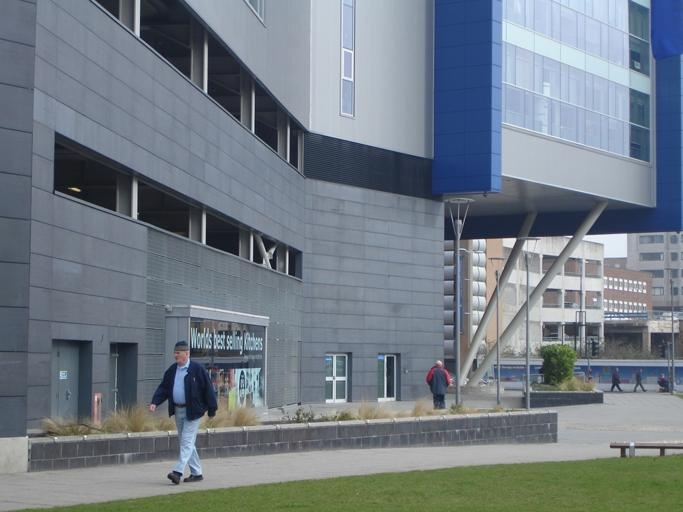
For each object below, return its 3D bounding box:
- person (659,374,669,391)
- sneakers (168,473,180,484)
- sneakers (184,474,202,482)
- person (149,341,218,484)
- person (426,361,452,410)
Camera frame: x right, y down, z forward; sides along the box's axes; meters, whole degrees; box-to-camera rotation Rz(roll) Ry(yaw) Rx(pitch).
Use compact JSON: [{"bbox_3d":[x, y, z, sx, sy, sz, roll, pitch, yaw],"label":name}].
[{"bbox_3d":[18.179,7.287,66.557,0.560,0.797,0.941,-4,-12,15],"label":"person"},{"bbox_3d":[-3.484,4.653,24.761,0.224,0.232,0.284,0,-11,-4],"label":"sneakers"},{"bbox_3d":[-3.134,4.697,25.055,0.366,0.166,0.141,4,-5,-9],"label":"sneakers"},{"bbox_3d":[-3.316,3.320,25.083,1.324,2.968,0.716,1,-10,-10],"label":"person"},{"bbox_3d":[3.340,4.389,40.933,0.754,1.807,0.535,-3,25,-5],"label":"person"}]
